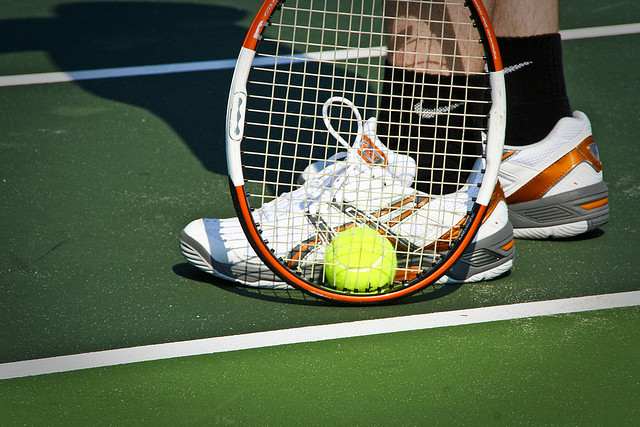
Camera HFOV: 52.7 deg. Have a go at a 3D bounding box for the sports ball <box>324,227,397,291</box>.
[{"bbox_3d":[0.158,0.193,2.591,0.279,0.138,0.222,0,64,3],"label":"sports ball"}]
